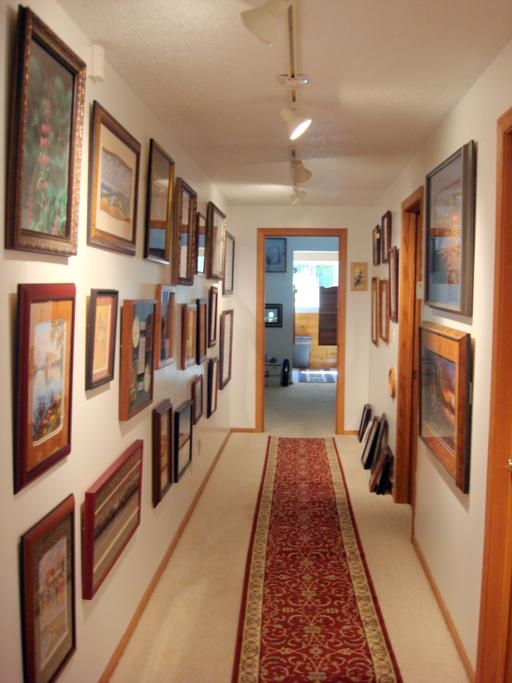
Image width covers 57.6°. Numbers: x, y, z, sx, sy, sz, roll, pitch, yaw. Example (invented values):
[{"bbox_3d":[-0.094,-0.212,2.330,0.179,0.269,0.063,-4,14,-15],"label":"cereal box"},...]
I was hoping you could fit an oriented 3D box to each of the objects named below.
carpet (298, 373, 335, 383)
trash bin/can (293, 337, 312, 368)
[{"bbox_3d":[1.244,0.736,9.692,0.794,0.091,1.566,1,2,6],"label":"carpet"},{"bbox_3d":[1.059,0.254,10.830,0.384,0.761,0.504,1,1,12],"label":"trash bin/can"}]
